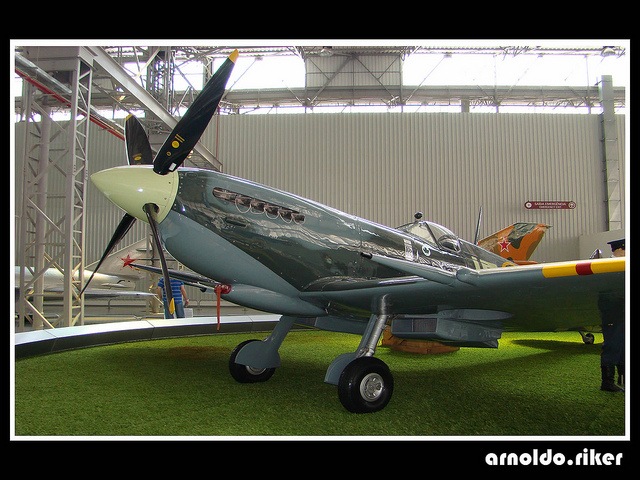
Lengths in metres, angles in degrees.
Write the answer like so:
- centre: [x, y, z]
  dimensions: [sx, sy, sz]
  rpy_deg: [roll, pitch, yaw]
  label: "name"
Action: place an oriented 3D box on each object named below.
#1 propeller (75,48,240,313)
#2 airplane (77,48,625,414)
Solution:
- centre: [-1.622, -0.486, 4.215]
  dimensions: [2.097, 1.290, 0.759]
  rpy_deg: [19, 5, 41]
  label: "propeller"
- centre: [0.657, 0.263, 4.318]
  dimensions: [4.122, 1.417, 3.859]
  rpy_deg: [12, -7, -29]
  label: "airplane"
